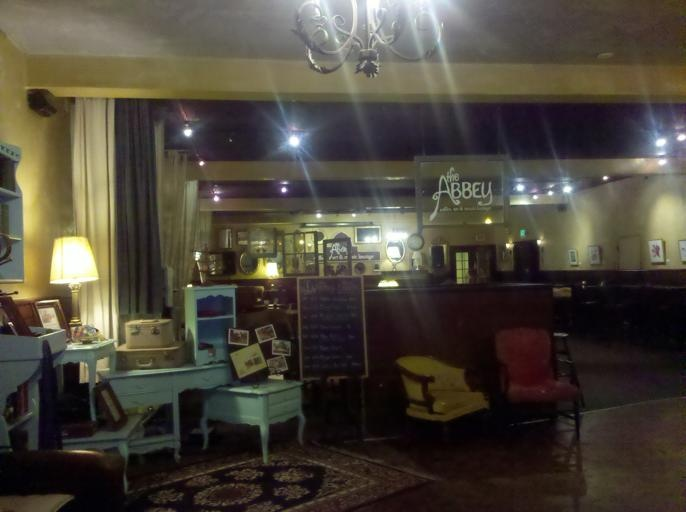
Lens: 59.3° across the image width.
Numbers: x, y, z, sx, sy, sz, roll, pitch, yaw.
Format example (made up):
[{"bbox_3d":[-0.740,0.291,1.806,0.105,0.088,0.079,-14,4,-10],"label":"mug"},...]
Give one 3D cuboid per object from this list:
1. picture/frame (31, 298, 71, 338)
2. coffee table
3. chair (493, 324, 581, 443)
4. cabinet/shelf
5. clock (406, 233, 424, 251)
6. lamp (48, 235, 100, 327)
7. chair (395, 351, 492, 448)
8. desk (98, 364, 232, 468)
[{"bbox_3d":[-2.844,0.603,5.832,0.034,0.485,0.421,-22,-5,12],"label":"picture/frame"},{"bbox_3d":[-0.980,1.775,6.685,0.766,0.741,1.019,1,-5,24],"label":"coffee table"},{"bbox_3d":[2.092,1.364,6.661,0.753,1.075,0.867,-2,-2,1],"label":"chair"},{"bbox_3d":[-1.432,0.723,6.568,0.520,0.782,0.495,-1,2,-17],"label":"cabinet/shelf"},{"bbox_3d":[1.122,-0.213,9.204,0.252,0.254,0.059,20,9,31],"label":"clock"},{"bbox_3d":[-2.752,0.236,6.150,0.428,0.876,0.498,-3,6,-26],"label":"lamp"},{"bbox_3d":[1.146,1.623,6.926,1.107,0.911,0.819,1,-14,-23],"label":"chair"},{"bbox_3d":[-1.833,1.618,6.125,0.983,0.720,0.376,1,-7,-24],"label":"desk"}]
